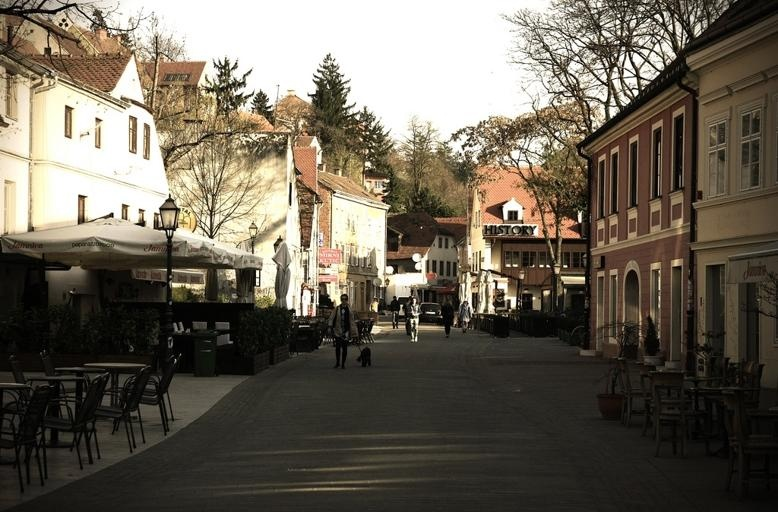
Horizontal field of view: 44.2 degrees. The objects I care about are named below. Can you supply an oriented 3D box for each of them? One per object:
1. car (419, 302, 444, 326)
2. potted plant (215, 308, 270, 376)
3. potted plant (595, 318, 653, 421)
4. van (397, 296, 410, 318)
[{"bbox_3d":[3.477,4.975,79.462,1.827,1.635,4.630,2,4,4],"label":"car"},{"bbox_3d":[-4.425,2.591,29.059,1.037,2.123,2.527,-1,-10,4],"label":"potted plant"},{"bbox_3d":[6.613,3.132,26.778,1.489,3.163,1.571,1,3,-5],"label":"potted plant"},{"bbox_3d":[1.547,4.532,87.121,1.440,1.564,2.606,1,12,3],"label":"van"}]
